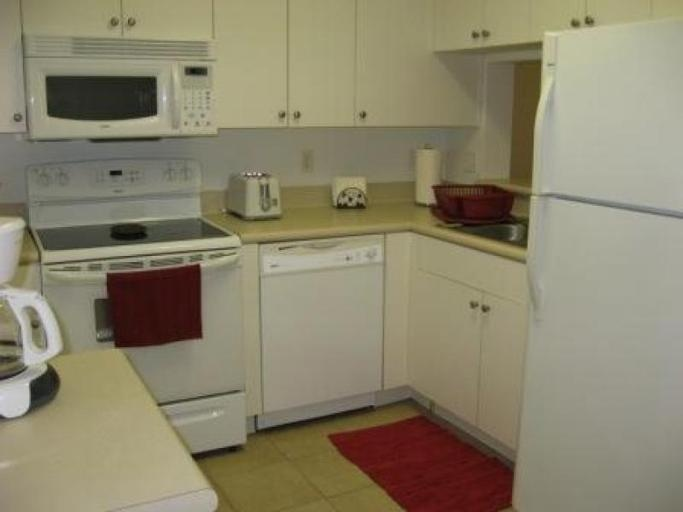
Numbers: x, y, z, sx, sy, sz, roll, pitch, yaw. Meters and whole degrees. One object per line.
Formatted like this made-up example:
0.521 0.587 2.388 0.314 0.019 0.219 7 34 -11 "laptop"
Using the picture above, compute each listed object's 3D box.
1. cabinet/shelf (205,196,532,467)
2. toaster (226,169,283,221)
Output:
0.136 0.291 3.061 1.277 0.998 1.382 -4 12 -20 "cabinet/shelf"
-0.489 -0.347 3.217 0.228 0.242 0.309 -7 15 -31 "toaster"
